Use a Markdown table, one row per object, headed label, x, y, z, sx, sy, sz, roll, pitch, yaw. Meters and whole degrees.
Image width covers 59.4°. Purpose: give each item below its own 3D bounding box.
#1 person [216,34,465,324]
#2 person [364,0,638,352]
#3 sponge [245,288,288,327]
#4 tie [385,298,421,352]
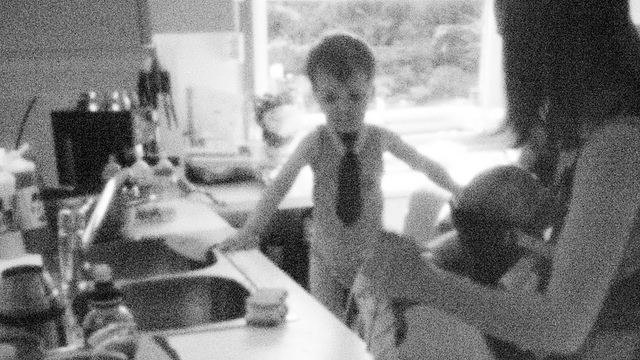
| label | x | y | z | sx | sy | sz | roll | pitch | yaw |
| --- | --- | --- | --- | --- | --- | --- | --- | --- | --- |
| person | 0.027 | -0.023 | 1.375 | 0.753 | 0.801 | 0.203 | -4 | 7 | -15 |
| person | 0.491 | -0.088 | 1.938 | 0.956 | 1.157 | 0.790 | 7 | 11 | 17 |
| sponge | -0.132 | 0.309 | 1.361 | 0.114 | 0.057 | 0.094 | -8 | 18 | -11 |
| tie | 0.207 | 0.366 | 1.445 | 0.065 | 0.133 | 0.037 | -1 | -5 | 4 |
